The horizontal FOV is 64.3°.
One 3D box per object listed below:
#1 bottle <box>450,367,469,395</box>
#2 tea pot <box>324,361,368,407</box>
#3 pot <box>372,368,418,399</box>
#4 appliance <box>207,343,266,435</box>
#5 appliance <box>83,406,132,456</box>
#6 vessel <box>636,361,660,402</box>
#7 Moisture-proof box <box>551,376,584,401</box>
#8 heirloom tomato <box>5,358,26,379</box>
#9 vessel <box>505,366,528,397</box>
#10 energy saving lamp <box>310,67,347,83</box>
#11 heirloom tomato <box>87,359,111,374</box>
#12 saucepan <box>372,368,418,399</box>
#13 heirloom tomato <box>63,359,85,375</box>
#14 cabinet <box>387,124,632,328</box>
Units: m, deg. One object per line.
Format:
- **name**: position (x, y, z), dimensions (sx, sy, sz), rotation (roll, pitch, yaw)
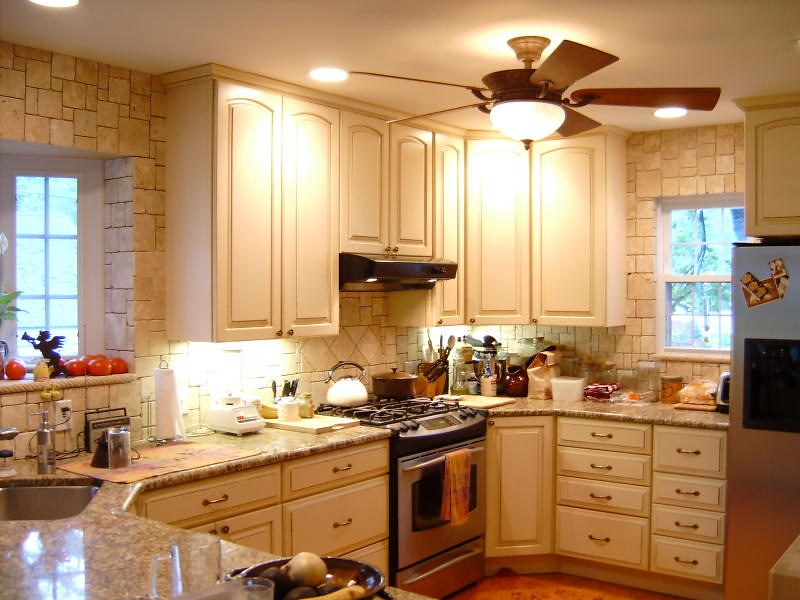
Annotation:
- **bottle**: position (0.427, 0.580, 4.542), dimensions (0.128, 0.192, 0.081), rotation (-2, 3, 5)
- **tea pot**: position (-0.334, 0.524, 3.984), dimensions (0.338, 0.248, 0.284), rotation (0, -4, -20)
- **pot**: position (-0.022, 0.541, 4.126), dimensions (0.234, 0.111, 0.208), rotation (-2, -3, 18)
- **appliance**: position (-0.902, 0.493, 3.419), dimensions (0.347, 0.439, 0.208), rotation (0, 4, 39)
- **appliance**: position (-1.380, 0.632, 3.114), dimensions (0.266, 0.178, 0.078), rotation (-15, -8, 19)
- **vessel**: position (1.719, 0.559, 4.402), dimensions (0.139, 0.255, 0.253), rotation (-1, 3, 17)
- **Moisture-proof box**: position (1.141, 0.606, 4.346), dimensions (0.208, 0.118, 0.179), rotation (0, -1, 5)
- **heirloom tomato**: position (-1.854, 0.337, 3.043), dimensions (0.101, 0.081, 0.098), rotation (1, -9, -38)
- **vessel**: position (0.832, 0.583, 4.548), dimensions (0.199, 0.182, 0.234), rotation (-7, -16, 28)
- **energy saving lamp**: position (-0.368, -1.187, 3.337), dimensions (0.199, 0.012, 0.195), rotation (-1, 2, 9)
- **heirloom tomato**: position (-1.505, 0.342, 3.212), dimensions (0.115, 0.063, 0.076), rotation (-2, -1, 10)
- **saucepan**: position (-0.022, 0.540, 4.127), dimensions (0.226, 0.116, 0.217), rotation (-4, -5, 35)
- **heirloom tomato**: position (-1.623, 0.342, 3.206), dimensions (0.094, 0.071, 0.088), rotation (-1, -4, 31)
- **cabinet**: position (0.691, -0.678, 4.634), dimensions (1.576, 0.899, 0.831), rotation (3, -9, 1)
